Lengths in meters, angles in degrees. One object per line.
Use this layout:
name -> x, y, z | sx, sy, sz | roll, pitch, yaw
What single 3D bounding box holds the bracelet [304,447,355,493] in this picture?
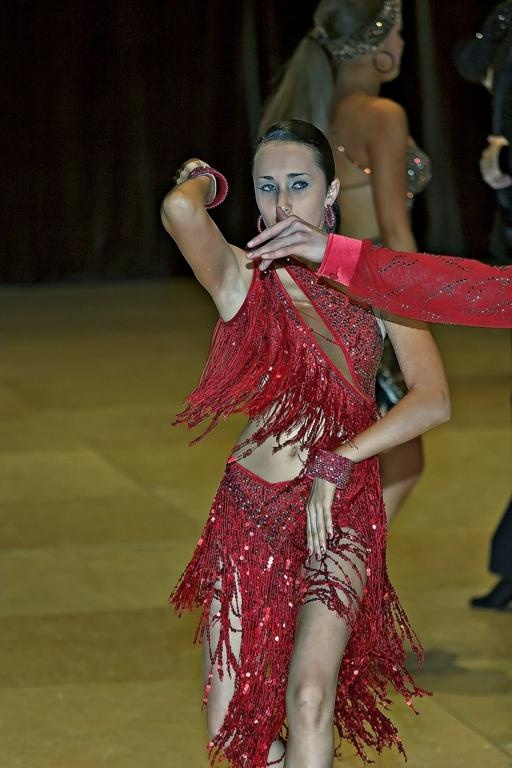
bracelet -> 0.094, 0.111, 0.938 | 0.056, 0.039, 0.054 | 24, -9, 6
